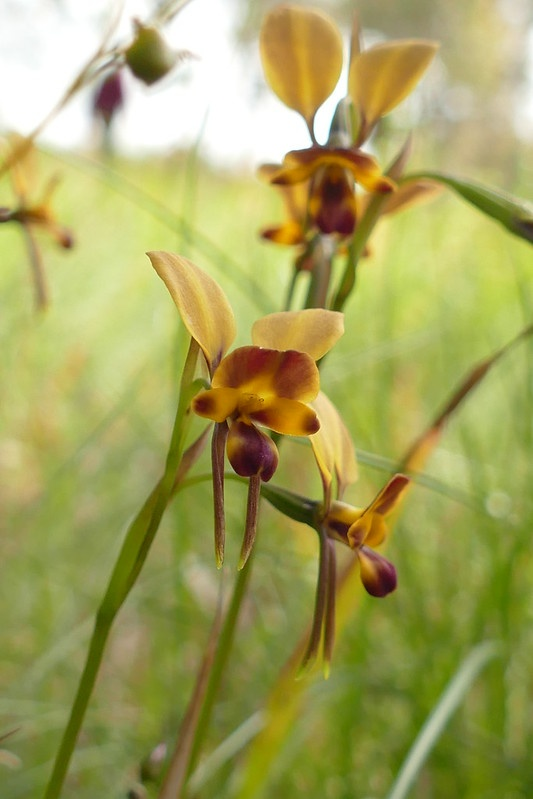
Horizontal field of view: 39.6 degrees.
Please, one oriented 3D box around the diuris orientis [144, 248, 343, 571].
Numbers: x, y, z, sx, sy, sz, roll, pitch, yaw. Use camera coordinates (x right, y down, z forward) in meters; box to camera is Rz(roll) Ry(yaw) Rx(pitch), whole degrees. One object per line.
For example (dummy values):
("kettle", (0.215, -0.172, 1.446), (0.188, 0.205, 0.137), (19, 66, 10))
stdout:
("diuris orientis", (-0.006, 0.013, 0.489), (0.111, 0.222, 0.244), (1, -49, 5))
